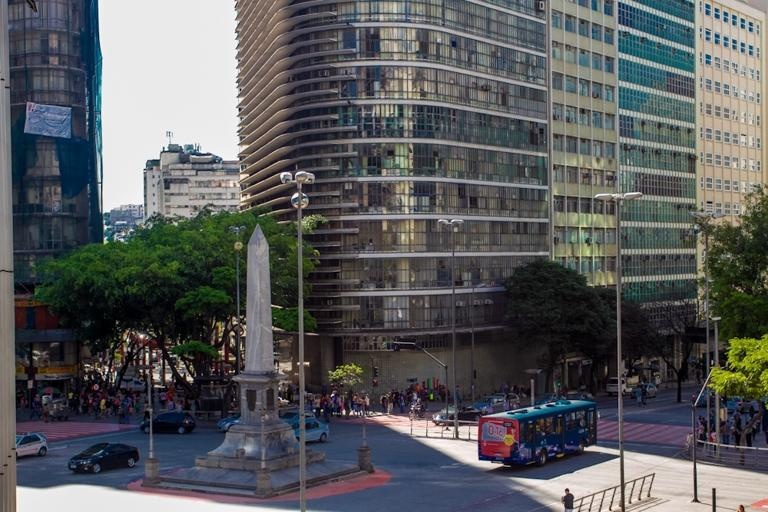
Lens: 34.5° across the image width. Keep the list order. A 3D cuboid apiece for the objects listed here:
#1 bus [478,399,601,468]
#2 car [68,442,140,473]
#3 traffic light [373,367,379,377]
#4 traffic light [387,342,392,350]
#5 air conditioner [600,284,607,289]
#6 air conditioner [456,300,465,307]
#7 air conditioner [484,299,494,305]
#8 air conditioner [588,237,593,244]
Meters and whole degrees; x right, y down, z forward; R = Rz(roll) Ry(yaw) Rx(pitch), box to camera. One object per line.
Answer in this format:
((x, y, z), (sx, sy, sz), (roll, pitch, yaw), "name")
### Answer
((14.457, 16.078, 113.693), (5.297, 4.812, 14.526), (-2, -1, 40), "bus")
((-24.965, 17.774, 109.195), (5.874, 2.525, 1.415), (3, -9, -34), "car")
((-1.142, 13.668, 146.085), (0.476, 1.160, 1.127), (-4, -8, 10), "traffic light")
((0.391, 10.640, 146.059), (0.674, 0.884, 0.447), (-4, -7, 9), "traffic light")
((28.604, 4.030, 161.369), (0.545, 0.299, 0.529), (7, 7, 28), "air conditioner")
((9.149, 5.877, 149.454), (1.168, 0.838, 0.631), (1, -5, -10), "air conditioner")
((12.713, 5.867, 151.998), (1.077, 0.747, 0.635), (0, 3, -9), "air conditioner")
((27.586, -1.887, 165.757), (0.911, 0.884, 0.459), (0, -1, -39), "air conditioner")
